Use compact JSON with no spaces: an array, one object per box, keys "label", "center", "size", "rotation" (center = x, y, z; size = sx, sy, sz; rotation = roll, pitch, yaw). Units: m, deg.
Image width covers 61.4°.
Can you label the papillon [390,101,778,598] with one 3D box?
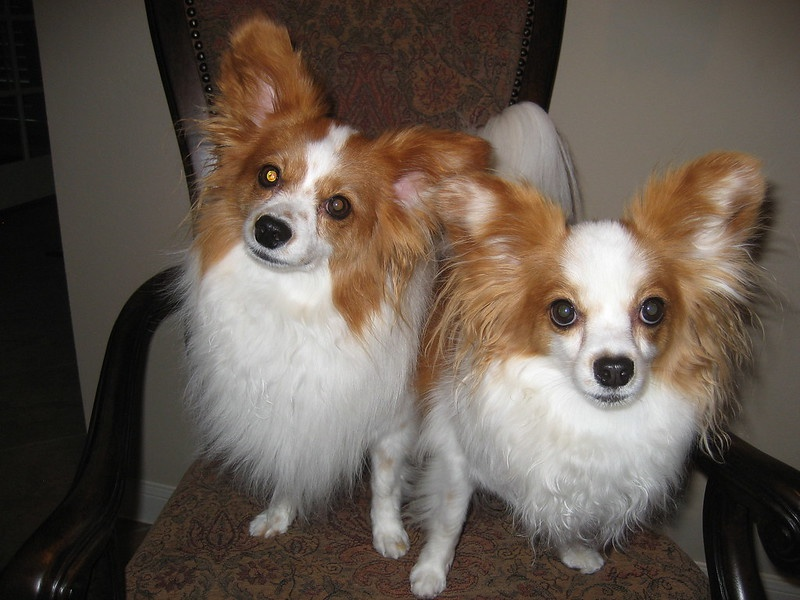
[{"label":"papillon","center":[0.604,0.257,2.316],"size":[1.095,1.571,0.597],"rotation":[7,23,1]}]
